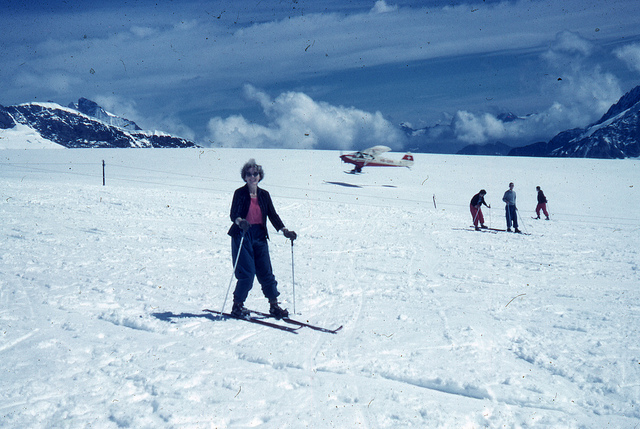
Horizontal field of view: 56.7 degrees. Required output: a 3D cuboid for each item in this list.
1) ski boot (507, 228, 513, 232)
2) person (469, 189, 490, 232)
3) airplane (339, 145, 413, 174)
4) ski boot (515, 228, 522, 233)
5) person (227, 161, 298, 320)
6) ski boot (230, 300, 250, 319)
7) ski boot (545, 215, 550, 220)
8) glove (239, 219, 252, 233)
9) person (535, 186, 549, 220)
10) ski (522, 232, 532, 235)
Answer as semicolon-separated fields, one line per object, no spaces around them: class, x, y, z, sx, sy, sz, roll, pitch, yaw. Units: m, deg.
ski boot;7.416;0.618;23.124;0.163;0.095;0.160;17;6;7
person;6.363;-0.174;23.495;0.721;1.592;1.340;5;13;15
airplane;5.229;-4.873;49.194;4.801;2.052;9.480;6;13;19
ski boot;7.656;0.612;22.854;0.216;0.152;0.302;6;13;19
person;-1.474;0.605;13.774;1.232;3.552;0.922;0;13;-9
ski boot;-1.870;2.221;13.747;0.484;0.476;0.255;0;-5;-2
ski boot;10.378;0.168;27.007;0.192;0.311;0.157;-5;3;23
glove;-1.687;0.259;13.483;0.238;0.213;0.230;-16;12;3
person;10.232;-0.536;27.154;0.623;1.563;1.256;6;13;20
ski;7.850;0.750;22.479;0.237;0.028;0.286;2;13;-1
